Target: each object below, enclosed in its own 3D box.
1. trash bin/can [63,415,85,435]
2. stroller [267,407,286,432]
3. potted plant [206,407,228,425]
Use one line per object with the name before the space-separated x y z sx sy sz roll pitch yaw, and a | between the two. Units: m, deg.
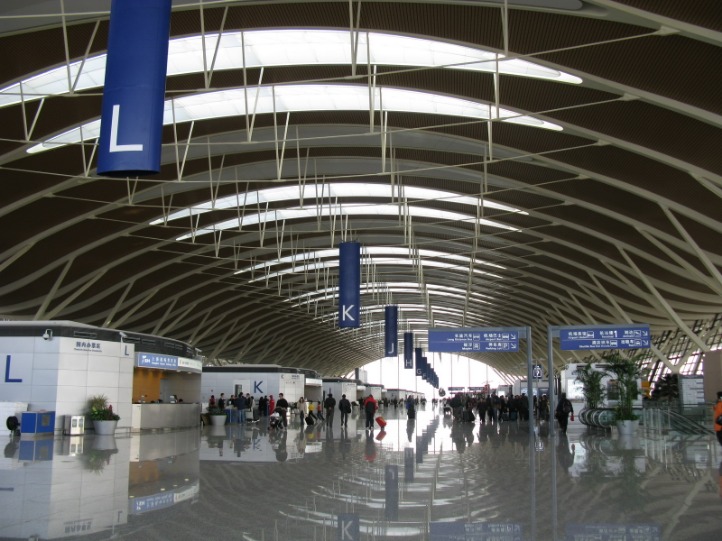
trash bin/can | -11.853 6.398 24.281 0.411 0.713 0.777 -5 -9 21
stroller | -4.735 8.516 33.758 0.953 0.975 1.646 -1 -7 5
potted plant | -9.218 9.419 37.929 1.221 0.861 1.205 0 -10 -4
